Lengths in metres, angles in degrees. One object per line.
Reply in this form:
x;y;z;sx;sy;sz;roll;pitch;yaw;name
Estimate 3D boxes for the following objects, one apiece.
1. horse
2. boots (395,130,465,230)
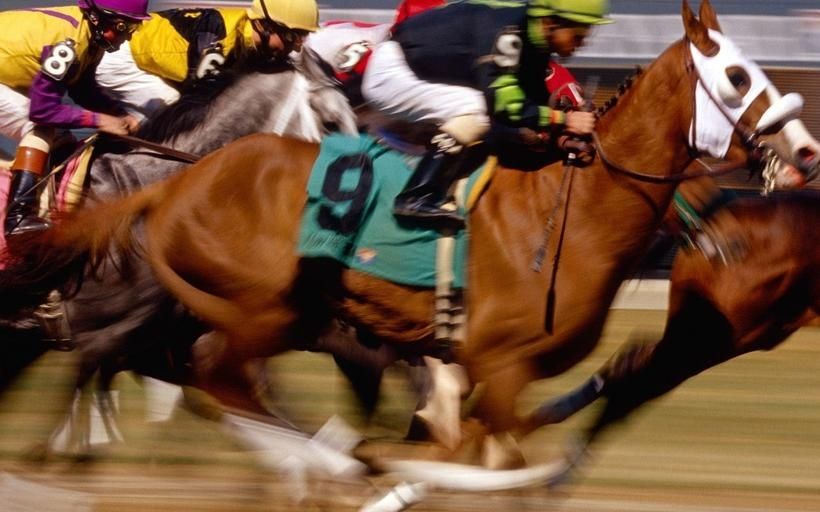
-0.019;-0.046;3.585;3.112;2.079;1.281;5;35;3;horse
0.102;-0.311;3.515;0.305;0.312;0.250;7;34;5;boots
